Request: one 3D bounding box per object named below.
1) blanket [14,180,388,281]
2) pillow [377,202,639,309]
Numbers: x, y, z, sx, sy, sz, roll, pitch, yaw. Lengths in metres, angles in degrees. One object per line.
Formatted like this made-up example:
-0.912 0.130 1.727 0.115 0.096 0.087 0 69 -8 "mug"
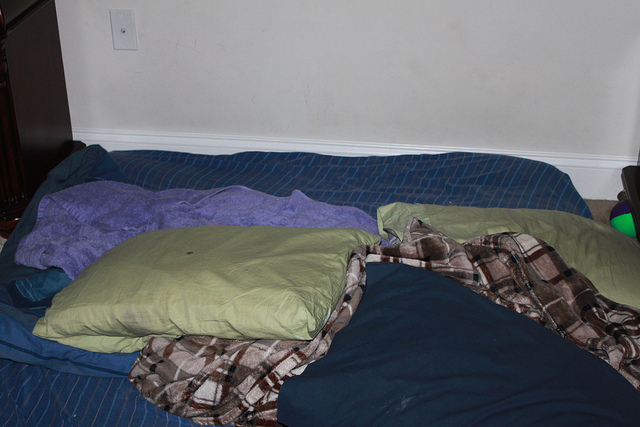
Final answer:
-0.580 0.024 2.067 0.957 0.132 0.599 0 23 -1 "blanket"
0.762 0.166 1.936 0.663 0.151 0.472 6 26 0 "pillow"
